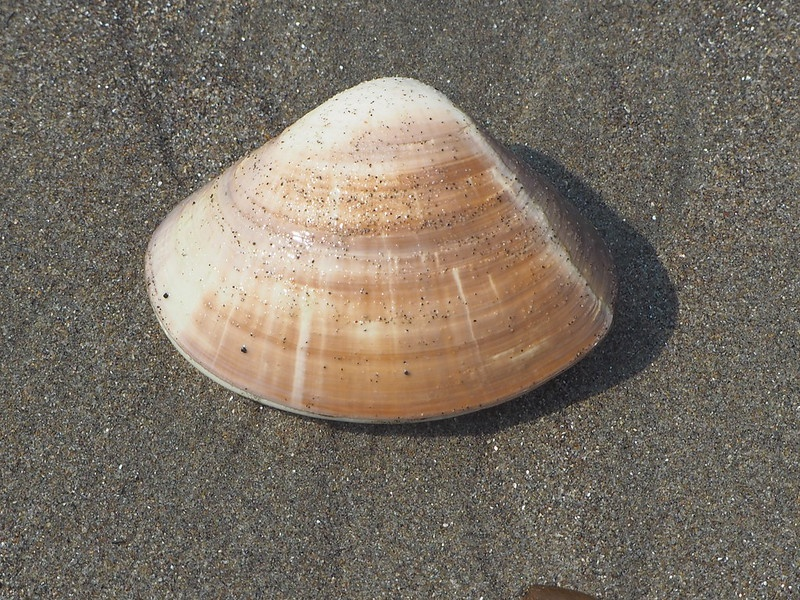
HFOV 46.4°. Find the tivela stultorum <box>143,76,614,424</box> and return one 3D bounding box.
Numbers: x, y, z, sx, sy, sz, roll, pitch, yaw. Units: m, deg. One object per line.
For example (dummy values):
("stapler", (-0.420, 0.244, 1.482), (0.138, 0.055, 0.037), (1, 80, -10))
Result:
("tivela stultorum", (-0.076, -0.132, 4.884), (1.761, 0.481, 1.678), (-2, 64, 0))
